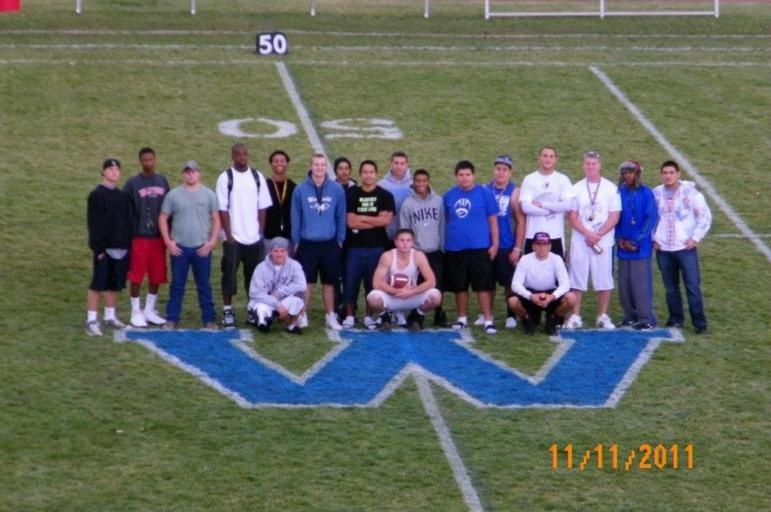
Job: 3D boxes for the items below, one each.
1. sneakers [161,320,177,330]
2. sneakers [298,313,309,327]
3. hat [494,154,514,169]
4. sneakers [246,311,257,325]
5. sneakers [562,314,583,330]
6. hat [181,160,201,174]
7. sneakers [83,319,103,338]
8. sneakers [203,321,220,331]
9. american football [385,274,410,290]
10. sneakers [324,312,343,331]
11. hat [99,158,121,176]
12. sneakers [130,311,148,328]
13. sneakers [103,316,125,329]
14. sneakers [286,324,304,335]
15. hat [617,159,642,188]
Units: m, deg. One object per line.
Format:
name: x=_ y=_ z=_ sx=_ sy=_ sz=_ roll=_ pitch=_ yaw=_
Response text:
sneakers: x=-3.735 y=1.219 z=25.841 sx=0.267 sy=0.167 sz=0.157 roll=-10 pitch=19 yaw=-19
sneakers: x=-1.451 y=1.164 z=26.162 sx=0.241 sy=0.266 sz=0.154 roll=1 pitch=-22 yaw=-16
hat: x=2.160 y=-1.733 z=26.474 sx=0.316 sy=0.133 sz=0.412 roll=11 pitch=-9 yaw=14
sneakers: x=-2.313 y=1.104 z=25.969 sx=0.192 sy=0.226 sz=0.250 roll=3 pitch=9 yaw=-1
sneakers: x=3.321 y=1.210 z=26.419 sx=0.311 sy=0.188 sz=0.472 roll=-1 pitch=-1 yaw=13
hat: x=-3.343 y=-1.556 z=25.611 sx=0.229 sy=0.155 sz=0.305 roll=-3 pitch=-8 yaw=-7
sneakers: x=-4.995 y=1.241 z=25.498 sx=0.262 sy=0.273 sz=0.328 roll=-7 pitch=18 yaw=-11
sneakers: x=-3.011 y=1.249 z=25.979 sx=0.186 sy=0.062 sz=0.176 roll=9 pitch=11 yaw=28
american football: x=0.238 y=0.458 z=25.903 sx=0.323 sy=0.178 sz=0.227 roll=-4 pitch=4 yaw=-23
sneakers: x=-0.839 y=1.181 z=26.195 sx=0.165 sy=0.251 sz=0.464 roll=-20 pitch=27 yaw=-38
hat: x=-4.644 y=-1.528 z=25.147 sx=0.268 sy=0.242 sz=0.363 roll=-4 pitch=18 yaw=-2
sneakers: x=-4.271 y=1.128 z=25.807 sx=0.283 sy=0.268 sz=0.218 roll=-9 pitch=19 yaw=-16
sneakers: x=-4.673 y=1.175 z=25.660 sx=0.423 sy=0.166 sz=0.134 roll=3 pitch=30 yaw=-6
sneakers: x=-1.569 y=1.295 z=26.041 sx=0.273 sy=0.181 sz=0.180 roll=-9 pitch=19 yaw=-17
hat: x=4.374 y=-1.460 z=26.337 sx=0.457 sy=0.520 sz=0.454 roll=0 pitch=1 yaw=17
